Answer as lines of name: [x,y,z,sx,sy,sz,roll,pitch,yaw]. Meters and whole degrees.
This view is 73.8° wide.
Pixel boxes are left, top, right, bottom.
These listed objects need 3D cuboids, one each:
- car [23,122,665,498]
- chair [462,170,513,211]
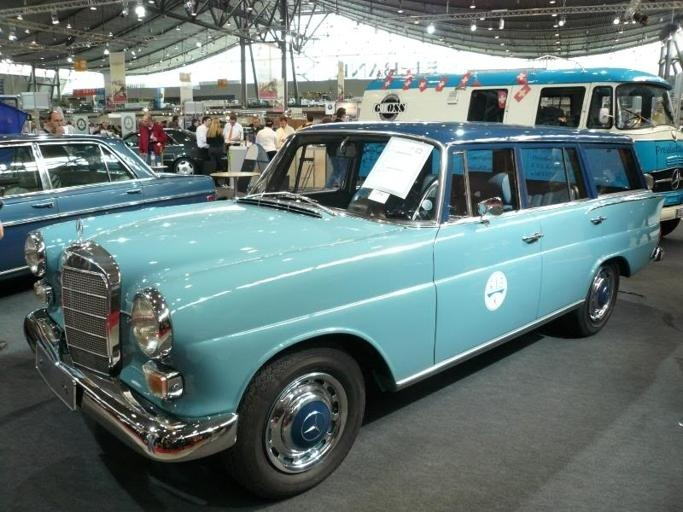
car: [0.589,-0.088,3.783,5.432,1.972,1.798,-11,17,-34]
chair: [1.021,-0.445,3.167,0.240,0.410,0.392,3,5,22]
